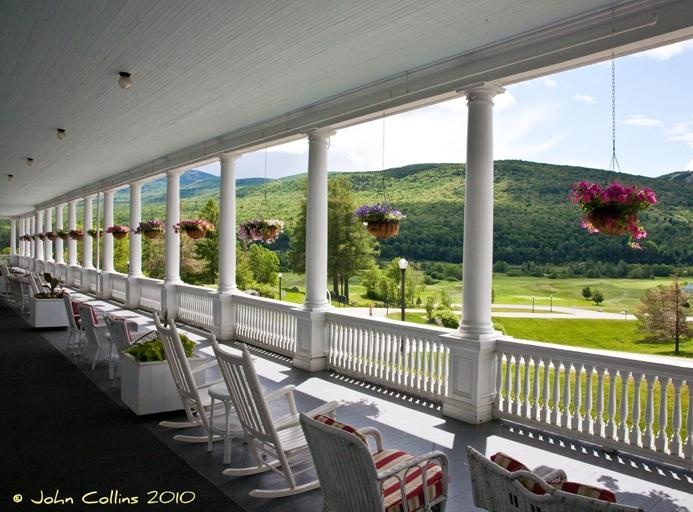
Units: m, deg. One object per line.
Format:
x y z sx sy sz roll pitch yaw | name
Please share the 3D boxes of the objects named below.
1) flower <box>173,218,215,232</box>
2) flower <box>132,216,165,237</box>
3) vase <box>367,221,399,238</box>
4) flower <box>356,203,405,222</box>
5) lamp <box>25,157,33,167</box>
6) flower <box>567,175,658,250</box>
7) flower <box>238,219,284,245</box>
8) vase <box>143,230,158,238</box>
-2.990 -0.620 10.204 0.587 0.210 0.523 0 -2 7 | flower
-4.706 -0.652 11.885 0.802 0.383 0.681 0 -2 -3 | flower
0.475 -0.344 6.579 0.295 0.140 0.276 1 -2 14 | vase
0.376 -0.556 6.559 0.635 0.257 0.459 3 4 17 | flower
-7.676 -2.295 12.303 0.252 0.251 0.063 -2 9 -1 | lamp
2.595 -0.492 5.056 0.875 0.558 0.732 2 -11 14 | flower
-1.480 -0.432 8.731 0.714 0.412 0.508 1 4 -8 | flower
-4.493 -0.487 11.746 0.257 0.165 0.444 0 4 -25 | vase
